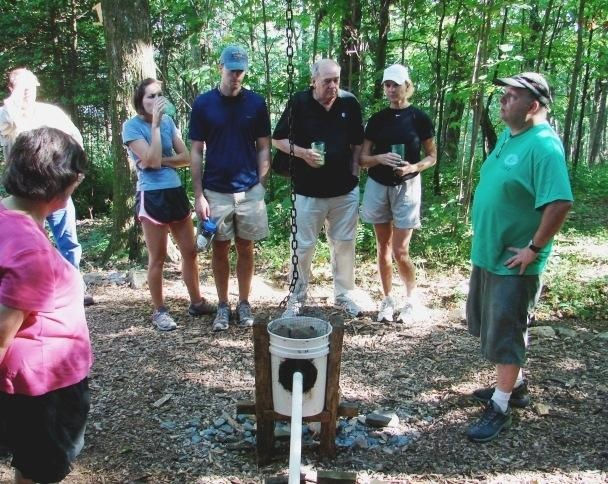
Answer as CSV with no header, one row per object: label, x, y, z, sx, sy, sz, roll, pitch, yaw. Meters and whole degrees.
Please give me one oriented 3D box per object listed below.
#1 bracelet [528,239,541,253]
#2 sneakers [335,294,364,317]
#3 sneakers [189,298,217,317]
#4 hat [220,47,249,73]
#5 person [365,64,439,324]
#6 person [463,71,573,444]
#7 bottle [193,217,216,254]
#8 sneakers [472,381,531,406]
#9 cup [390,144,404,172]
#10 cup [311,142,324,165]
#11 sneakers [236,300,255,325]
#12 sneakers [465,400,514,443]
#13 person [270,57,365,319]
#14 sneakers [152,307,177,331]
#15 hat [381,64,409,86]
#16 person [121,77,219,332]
bracelet,1.617,0.030,4.323,0.092,0.060,0.088,36,20,29
sneakers,0.471,0.667,6.468,0.322,0.149,0.151,27,58,29
sneakers,-0.985,0.669,6.210,0.345,0.150,0.112,-4,14,-27
hat,-0.637,-1.658,5.517,0.244,0.226,0.188,-2,13,-9
person,0.925,-0.459,6.098,0.603,2.514,0.617,-8,16,-30
person,1.543,0.086,4.491,0.577,2.589,0.788,0,13,-1
bottle,-0.897,-0.061,5.625,0.190,0.296,0.311,-2,13,-9
sneakers,1.501,1.175,4.829,0.505,0.222,0.170,0,0,9
cup,0.896,-0.802,5.777,0.142,0.228,0.143,-11,33,7
cup,0.125,-0.809,5.636,0.104,0.207,0.148,3,14,11
sneakers,-0.584,0.694,5.974,0.106,0.129,0.303,-4,26,-16
sneakers,1.351,1.287,4.523,0.460,0.209,0.159,-25,37,-30
person,0.183,-0.459,5.991,0.934,2.545,0.766,-2,14,-10
sneakers,-1.350,0.743,5.907,0.126,0.147,0.309,-11,16,-40
hat,0.882,-1.603,5.867,0.228,0.197,0.264,4,14,14
person,-1.303,-0.335,5.769,0.702,2.327,0.476,-3,14,-14
